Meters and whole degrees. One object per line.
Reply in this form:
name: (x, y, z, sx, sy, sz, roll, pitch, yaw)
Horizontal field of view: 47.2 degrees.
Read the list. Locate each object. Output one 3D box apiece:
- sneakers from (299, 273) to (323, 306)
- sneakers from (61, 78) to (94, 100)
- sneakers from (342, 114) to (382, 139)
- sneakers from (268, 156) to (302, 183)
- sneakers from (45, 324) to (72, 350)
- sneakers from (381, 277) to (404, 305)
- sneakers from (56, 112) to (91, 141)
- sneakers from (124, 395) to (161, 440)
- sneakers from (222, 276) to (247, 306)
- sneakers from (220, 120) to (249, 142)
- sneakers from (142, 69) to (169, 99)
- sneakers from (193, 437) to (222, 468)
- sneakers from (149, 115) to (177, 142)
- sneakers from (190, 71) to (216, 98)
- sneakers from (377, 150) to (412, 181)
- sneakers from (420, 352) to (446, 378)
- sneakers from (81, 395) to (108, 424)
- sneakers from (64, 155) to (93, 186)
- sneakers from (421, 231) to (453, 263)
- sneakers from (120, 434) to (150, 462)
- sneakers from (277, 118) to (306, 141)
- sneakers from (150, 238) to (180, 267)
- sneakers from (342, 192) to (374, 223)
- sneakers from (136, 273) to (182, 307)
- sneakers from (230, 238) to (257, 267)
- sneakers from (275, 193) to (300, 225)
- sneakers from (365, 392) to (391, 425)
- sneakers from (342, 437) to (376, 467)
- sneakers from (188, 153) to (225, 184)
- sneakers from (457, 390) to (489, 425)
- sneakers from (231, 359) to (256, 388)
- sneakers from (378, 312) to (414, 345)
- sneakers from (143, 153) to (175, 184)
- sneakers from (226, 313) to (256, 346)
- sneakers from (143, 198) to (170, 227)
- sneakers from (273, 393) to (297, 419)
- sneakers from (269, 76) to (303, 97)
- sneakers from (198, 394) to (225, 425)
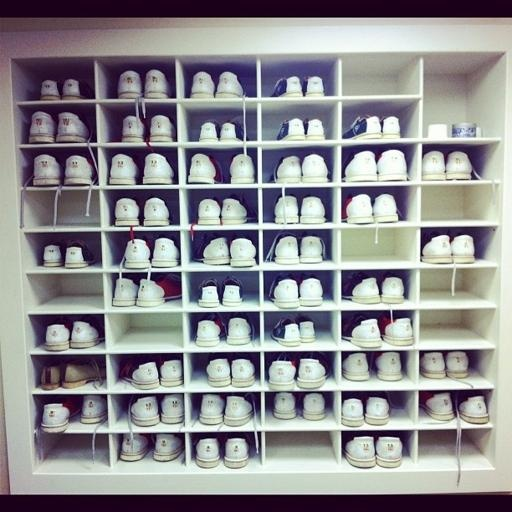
sneakers: (0.278, 0.187, 3.080, 0.123, 0.134, 0.119, -4, 15, -13)
sneakers: (-0.932, -0.868, 3.058, 0.077, 0.093, 0.194, 8, 16, 31)
sneakers: (0.555, -0.670, 3.063, 0.222, 0.115, 0.153, 4, 15, 18)
sneakers: (0.156, -0.460, 3.111, 0.150, 0.143, 0.349, -1, 9, -1)
sneakers: (-1.046, 0.421, 3.047, 0.125, 0.135, 0.074, -5, 15, -19)
sneakers: (0.729, 0.171, 3.105, 0.123, 0.134, 0.138, 3, 14, 13)
sneakers: (-0.969, -0.668, 3.043, 0.171, 0.151, 0.156, -3, 14, -12)
sneakers: (-0.602, 0.824, 3.077, 0.118, 0.102, 0.269, -1, 0, -5)
sneakers: (-0.123, 0.189, 3.145, 0.137, 0.148, 0.360, 0, 4, -2)
sneakers: (-0.118, -0.653, 3.081, 0.148, 0.142, 0.349, 0, 11, 2)
sneakers: (-0.522, -0.891, 3.026, 0.133, 0.154, 0.152, -2, 14, -8)
sneakers: (-0.262, 1.012, 3.083, 0.132, 0.139, 0.158, -2, 14, -5)
sneakers: (-0.489, -0.656, 3.025, 0.147, 0.131, 0.131, -4, 15, -16)
sneakers: (-0.278, -0.888, 3.033, 0.118, 0.146, 0.190, 1, 14, 4)
sneakers: (0.706, -0.466, 3.018, 0.155, 0.154, 0.122, 3, 15, 12)
sneakers: (0.960, 0.585, 3.124, 0.082, 0.072, 0.177, -1, 2, 4)
sneakers: (-0.874, 0.814, 3.104, 0.090, 0.082, 0.186, 0, 3, -4)
sneakers: (-0.931, -0.441, 3.028, 0.155, 0.154, 0.102, -4, 15, -14)
sneakers: (0.948, -0.041, 3.094, 0.127, 0.147, 0.193, -7, 15, -24)
sneakers: (-0.658, 1.016, 3.116, 0.082, 0.092, 0.212, 1, 2, 1)
sneakers: (0.182, -0.655, 3.046, 0.144, 0.107, 0.164, 0, 14, 3)
sneakers: (-0.488, -0.019, 3.071, 0.142, 0.153, 0.141, -1, 14, -4)
sneakers: (0.525, -0.244, 3.045, 0.084, 0.145, 0.174, -13, 19, -40)
sneakers: (-0.525, 0.188, 3.144, 0.113, 0.105, 0.280, 0, 5, 11)
sneakers: (-0.072, -0.015, 3.022, 0.146, 0.132, 0.325, 0, 4, -1)
sneakers: (0.161, -0.236, 3.068, 0.153, 0.148, 0.139, 0, 3, -16)
sneakers: (0.654, 0.803, 3.083, 0.160, 0.134, 0.120, -2, 14, -6)
sneakers: (0.544, 1.008, 3.018, 0.104, 0.070, 0.189, -1, 0, 3)
sneakers: (-0.277, -0.461, 3.106, 0.167, 0.159, 0.222, 1, 14, 3)
sneakers: (1.145, 0.800, 3.046, 0.103, 0.070, 0.172, -1, 3, 6)
sneakers: (-0.066, 0.609, 2.984, 0.083, 0.072, 0.175, -1, 1, -1)
sneakers: (0.752, 0.387, 3.083, 0.171, 0.142, 0.124, 4, 15, 18)
sneakers: (-0.506, -0.453, 3.039, 0.180, 0.156, 0.114, -7, 16, -25)
sneakers: (-0.082, 0.398, 3.132, 0.161, 0.147, 0.364, 0, 2, 0)
sneakers: (-0.528, -0.229, 3.050, 0.131, 0.142, 0.094, -3, 15, -12)
sneakers: (0.147, 0.795, 3.127, 0.129, 0.127, 0.137, 1, -2, -2)
sneakers: (0.164, -0.903, 3.127, 0.163, 0.111, 0.332, 0, 14, 2)
sneakers: (-0.237, 0.800, 3.015, 0.086, 0.078, 0.193, 1, 0, -1)
